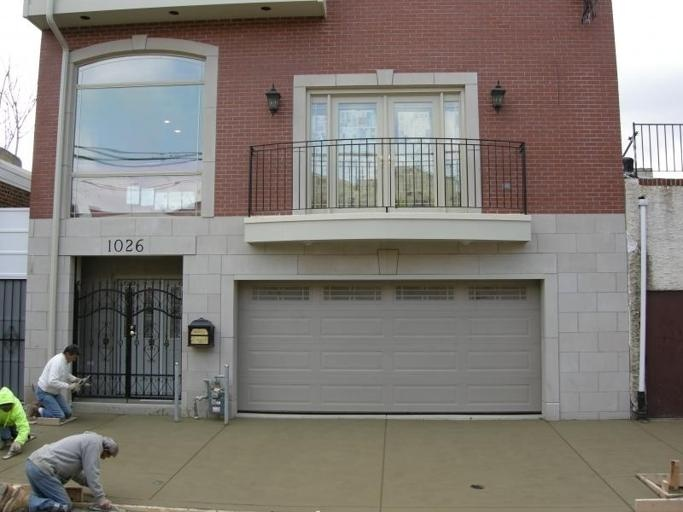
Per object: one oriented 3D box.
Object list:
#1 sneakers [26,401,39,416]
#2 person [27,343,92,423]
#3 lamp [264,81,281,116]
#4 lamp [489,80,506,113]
[{"bbox_3d":[-6.145,3.086,16.544,0.181,0.219,0.235,1,-27,-23],"label":"sneakers"},{"bbox_3d":[-5.624,2.584,16.607,1.043,1.641,0.762,7,2,-24],"label":"person"},{"bbox_3d":[-1.411,-3.257,17.217,0.321,0.663,0.275,-1,-3,-4],"label":"lamp"},{"bbox_3d":[3.219,-3.264,16.997,0.313,0.654,0.315,-1,-3,11],"label":"lamp"}]
